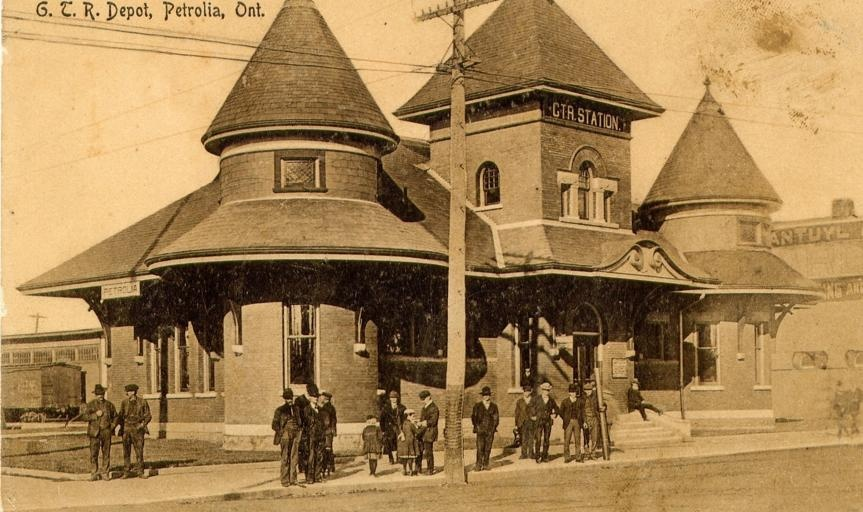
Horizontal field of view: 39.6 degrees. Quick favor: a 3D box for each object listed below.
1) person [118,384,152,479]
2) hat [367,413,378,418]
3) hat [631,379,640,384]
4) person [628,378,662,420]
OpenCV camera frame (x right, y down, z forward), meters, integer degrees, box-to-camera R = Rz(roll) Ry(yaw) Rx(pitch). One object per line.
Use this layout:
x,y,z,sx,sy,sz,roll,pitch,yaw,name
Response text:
-10.330,6.042,41.560,1.047,3.154,1.329,1,-13,-14,person
-2.234,6.084,45.463,0.456,0.153,0.441,0,-9,4,hat
8.611,5.286,50.617,0.255,0.170,0.267,-3,-5,35,hat
8.905,6.024,50.481,1.285,1.812,0.799,7,-16,-38,person
